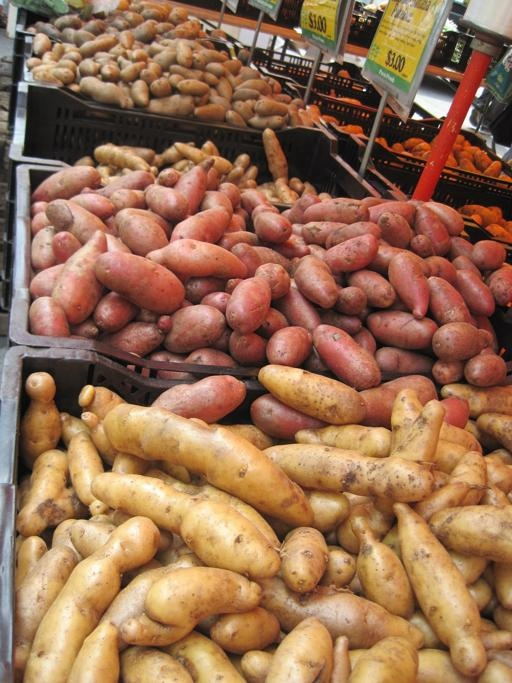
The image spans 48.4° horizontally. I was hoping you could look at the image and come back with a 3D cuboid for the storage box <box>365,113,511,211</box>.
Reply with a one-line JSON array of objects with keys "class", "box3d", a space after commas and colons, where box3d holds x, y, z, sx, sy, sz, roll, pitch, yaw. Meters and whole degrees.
[{"class": "storage box", "box3d": [1.348, -1.304, 4.819, 1.241, 0.466, 1.127, 18, 38, -6]}]
